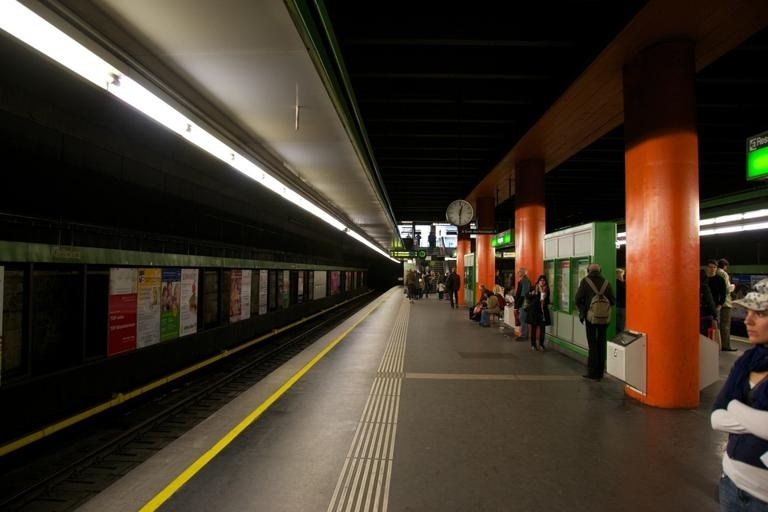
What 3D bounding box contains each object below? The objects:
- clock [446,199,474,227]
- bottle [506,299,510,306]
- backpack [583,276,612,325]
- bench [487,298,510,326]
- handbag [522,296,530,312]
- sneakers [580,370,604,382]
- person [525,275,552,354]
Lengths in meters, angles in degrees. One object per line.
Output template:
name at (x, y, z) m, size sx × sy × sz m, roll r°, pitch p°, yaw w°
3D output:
clock at (2.302, -1.260, 16.140) m, size 0.706 × 0.766 × 0.761 m, roll 3°, pitch 13°, yaw 18°
bottle at (3.392, 1.284, 14.787) m, size 0.129 × 0.132 × 0.091 m, roll 10°, pitch -4°, yaw -1°
backpack at (3.753, 0.794, 9.472) m, size 0.418 × 0.739 × 0.423 m, roll 2°, pitch 12°, yaw 13°
bench at (3.170, 1.557, 14.997) m, size 0.737 × 0.906 × 0.632 m, roll 1°, pitch 0°, yaw -41°
handbag at (3.187, 1.028, 12.038) m, size 0.113 × 0.311 × 0.213 m, roll 16°, pitch 11°, yaw 34°
sneakers at (3.693, 2.107, 9.548) m, size 0.353 × 0.139 × 0.186 m, roll 3°, pitch 13°, yaw 14°
person at (3.495, 1.253, 12.015) m, size 0.478 × 1.736 × 0.700 m, roll 8°, pitch 15°, yaw 37°
